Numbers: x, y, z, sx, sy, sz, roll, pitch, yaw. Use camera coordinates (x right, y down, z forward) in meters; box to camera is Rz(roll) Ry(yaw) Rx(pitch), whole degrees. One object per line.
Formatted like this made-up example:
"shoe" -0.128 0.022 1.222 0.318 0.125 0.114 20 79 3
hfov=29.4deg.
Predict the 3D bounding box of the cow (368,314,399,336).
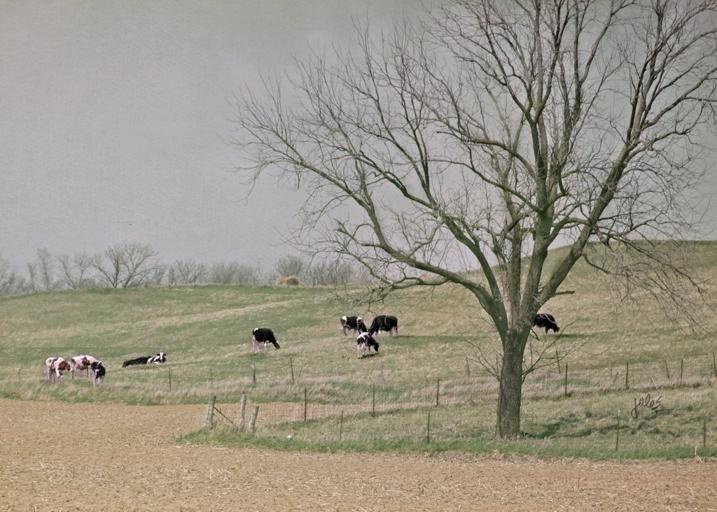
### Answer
"cow" 1.895 5.596 110.890 1.776 1.545 3.500 0 6 38

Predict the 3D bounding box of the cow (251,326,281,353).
"cow" -7.528 6.531 109.893 1.949 1.700 5.191 -4 4 -3

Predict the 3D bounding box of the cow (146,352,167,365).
"cow" -15.751 8.012 106.716 1.387 0.785 4.222 -5 4 -8
